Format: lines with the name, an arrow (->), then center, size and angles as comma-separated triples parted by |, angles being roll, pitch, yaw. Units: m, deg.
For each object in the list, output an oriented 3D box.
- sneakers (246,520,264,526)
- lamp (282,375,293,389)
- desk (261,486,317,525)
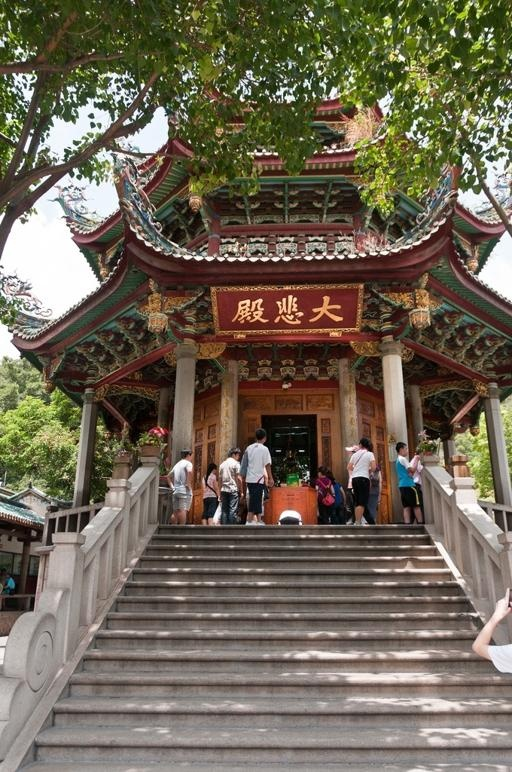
sneakers -> -0.006, 1.874, 7.065 | 0.265, 0.090, 0.166 | 3, -17, 7
lamp -> 0.756, -0.137, 11.702 | 0.292, 0.209, 0.311 | 0, -13, 6
desk -> 0.618, 2.141, 9.166 | 0.849, 0.753, 0.663 | -3, -59, 9
